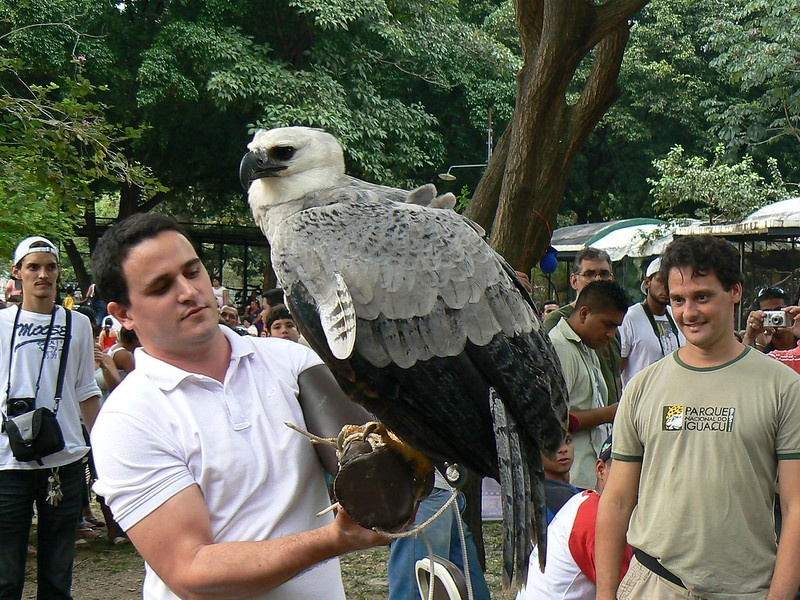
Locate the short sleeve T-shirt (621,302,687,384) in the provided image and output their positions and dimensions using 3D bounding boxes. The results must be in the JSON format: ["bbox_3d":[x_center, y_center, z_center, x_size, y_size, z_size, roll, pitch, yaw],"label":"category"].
[{"bbox_3d":[2.277,0.407,10.426,0.661,0.798,0.386,4,-13,-25],"label":"short sleeve T-shirt"}]

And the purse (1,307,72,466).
[{"bbox_3d":[-3.247,0.757,10.356,0.578,1.351,0.548,1,5,-17],"label":"purse"}]

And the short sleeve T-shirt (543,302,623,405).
[{"bbox_3d":[2.048,0.496,11.280,0.914,0.981,0.486,0,22,12],"label":"short sleeve T-shirt"}]

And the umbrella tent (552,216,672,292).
[{"bbox_3d":[3.387,-0.763,18.174,1.589,1.181,2.113,0,-3,-25],"label":"umbrella tent"}]
